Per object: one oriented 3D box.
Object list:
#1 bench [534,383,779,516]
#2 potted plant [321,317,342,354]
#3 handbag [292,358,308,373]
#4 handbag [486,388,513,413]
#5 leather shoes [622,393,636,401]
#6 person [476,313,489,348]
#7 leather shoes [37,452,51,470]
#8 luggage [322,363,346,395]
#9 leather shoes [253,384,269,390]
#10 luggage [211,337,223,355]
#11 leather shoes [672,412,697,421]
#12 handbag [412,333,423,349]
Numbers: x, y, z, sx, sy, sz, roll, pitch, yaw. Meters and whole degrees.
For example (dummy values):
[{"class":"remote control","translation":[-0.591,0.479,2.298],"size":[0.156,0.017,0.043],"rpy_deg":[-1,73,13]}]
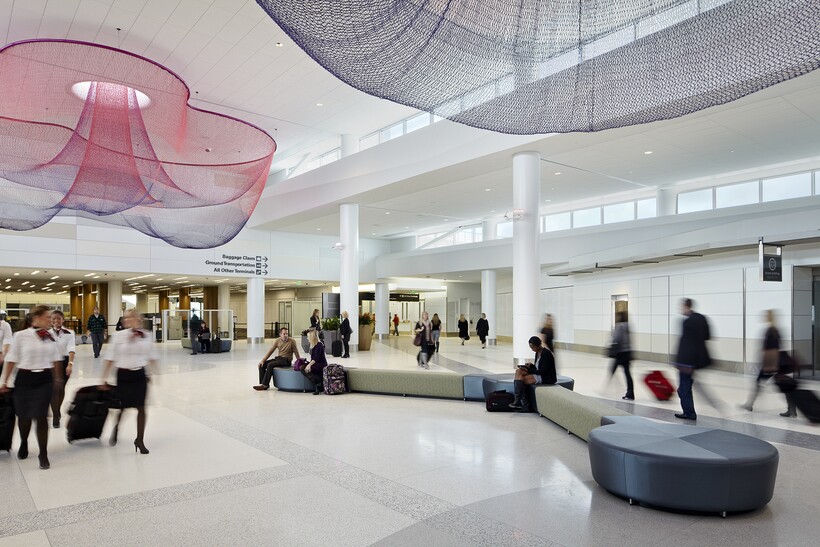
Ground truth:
[{"class":"bench","translation":[2.908,2.120,6.946],"size":[1.145,0.350,2.345],"rpy_deg":[0,-1,-13]},{"class":"potted plant","translation":[-3.310,2.897,23.363],"size":[0.855,0.976,0.775],"rpy_deg":[-1,-2,-21]},{"class":"handbag","translation":[-2.613,2.206,13.092],"size":[0.265,0.244,0.645],"rpy_deg":[1,-10,-10]},{"class":"handbag","translation":[1.778,2.482,10.614],"size":[0.511,0.283,0.371],"rpy_deg":[11,-17,-30]},{"class":"leather shoes","translation":[4.767,2.666,11.875],"size":[0.137,0.194,0.283],"rpy_deg":[2,2,-40]},{"class":"person","translation":[3.869,2.906,28.598],"size":[0.442,1.683,1.087],"rpy_deg":[2,-2,17]},{"class":"leather shoes","translation":[-5.000,2.554,7.481],"size":[0.122,0.194,0.279],"rpy_deg":[4,-3,-34]},{"class":"luggage","translation":[-1.778,2.491,12.807],"size":[0.700,0.810,0.537],"rpy_deg":[4,-17,-28]},{"class":"leather shoes","translation":[-3.648,2.816,13.562],"size":[0.392,0.139,0.135],"rpy_deg":[11,-13,-38]},{"class":"luggage","translation":[-9.243,3.451,26.061],"size":[0.491,0.745,0.665],"rpy_deg":[-8,-14,33]},{"class":"leather shoes","translation":[4.903,2.533,9.766],"size":[0.134,0.143,0.417],"rpy_deg":[-1,4,-40]},{"class":"handbag","translation":[0.330,2.094,17.465],"size":[0.335,0.377,0.534],"rpy_deg":[2,-2,1]}]
